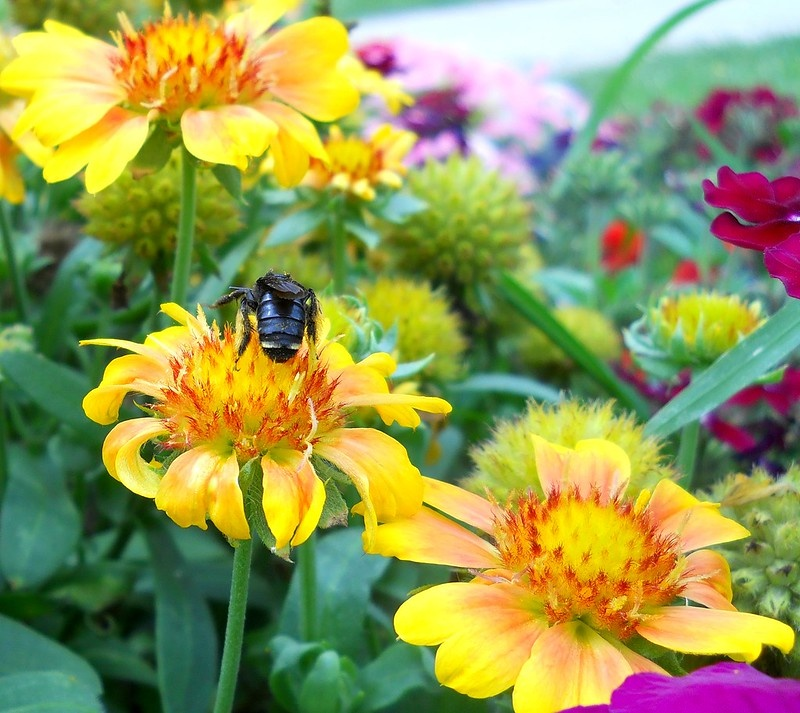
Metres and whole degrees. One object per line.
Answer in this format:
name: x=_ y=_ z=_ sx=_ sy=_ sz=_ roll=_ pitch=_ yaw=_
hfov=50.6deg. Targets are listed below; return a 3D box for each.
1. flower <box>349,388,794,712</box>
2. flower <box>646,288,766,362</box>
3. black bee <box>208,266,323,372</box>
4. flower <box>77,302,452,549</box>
flower: x=0.136 y=0.178 z=0.689 sx=0.261 sy=0.117 sz=0.270 roll=24 pitch=42 yaw=32
flower: x=0.330 y=-0.046 z=0.904 sx=0.092 sy=0.057 sz=0.096 roll=-10 pitch=24 yaw=-21
black bee: x=-0.104 y=-0.041 z=0.754 sx=0.067 sy=0.034 sz=0.095 roll=3 pitch=22 yaw=-21
flower: x=-0.103 y=0.054 z=0.701 sx=0.230 sy=0.101 sz=0.241 roll=-7 pitch=44 yaw=-36
